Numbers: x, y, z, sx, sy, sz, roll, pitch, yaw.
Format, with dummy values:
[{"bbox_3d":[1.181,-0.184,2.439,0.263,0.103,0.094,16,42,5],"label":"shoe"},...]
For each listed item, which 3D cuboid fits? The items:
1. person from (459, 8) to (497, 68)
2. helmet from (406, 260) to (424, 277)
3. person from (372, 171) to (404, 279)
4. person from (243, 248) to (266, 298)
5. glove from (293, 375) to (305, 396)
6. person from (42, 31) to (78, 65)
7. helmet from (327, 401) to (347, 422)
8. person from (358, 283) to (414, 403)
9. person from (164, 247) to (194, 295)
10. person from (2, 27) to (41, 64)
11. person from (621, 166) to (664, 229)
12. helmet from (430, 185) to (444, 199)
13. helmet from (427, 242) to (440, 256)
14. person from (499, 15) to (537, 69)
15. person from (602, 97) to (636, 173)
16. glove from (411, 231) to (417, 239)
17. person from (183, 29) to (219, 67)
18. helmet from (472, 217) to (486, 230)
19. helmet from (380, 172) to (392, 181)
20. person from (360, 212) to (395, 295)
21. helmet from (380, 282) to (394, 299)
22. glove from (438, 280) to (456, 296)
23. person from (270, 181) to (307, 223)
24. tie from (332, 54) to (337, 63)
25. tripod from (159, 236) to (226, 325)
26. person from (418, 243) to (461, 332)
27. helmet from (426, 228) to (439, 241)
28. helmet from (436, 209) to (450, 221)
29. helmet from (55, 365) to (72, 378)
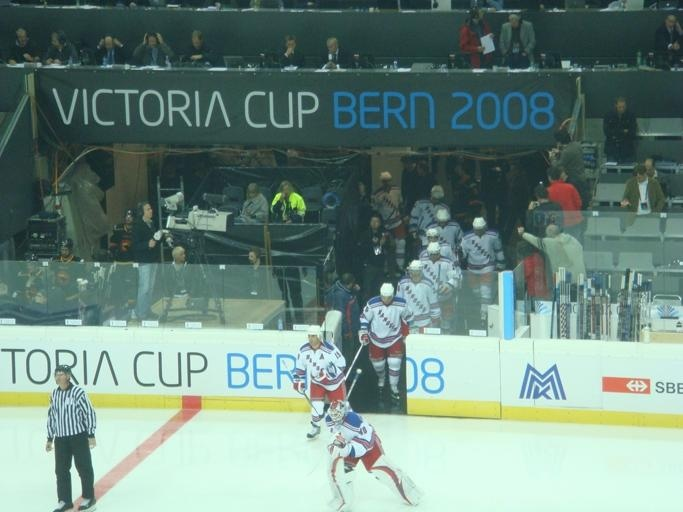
[{"bbox_3d":[2.835,-4.551,32.185,0.775,0.968,0.767,-1,-1,-11],"label":"person"},{"bbox_3d":[1.413,0.238,29.416,0.208,0.259,0.270,2,-6,3],"label":"helmet"},{"bbox_3d":[1.132,-0.692,33.738,0.667,2.223,0.652,-10,-2,38],"label":"person"},{"bbox_3d":[-1.646,0.389,29.020,0.315,0.302,0.988,-4,50,-4],"label":"person"},{"bbox_3d":[-0.767,2.379,27.781,0.218,0.333,0.127,-10,-2,13],"label":"glove"},{"bbox_3d":[-5.987,-4.399,32.672,0.655,0.869,0.567,2,28,-3],"label":"person"},{"bbox_3d":[-0.058,2.641,25.932,0.276,0.334,0.360,-8,13,33],"label":"helmet"},{"bbox_3d":[0.856,1.637,29.232,0.929,2.410,0.865,-2,26,2],"label":"person"},{"bbox_3d":[-3.061,0.322,29.054,0.474,0.929,0.519,-1,-1,1],"label":"person"},{"bbox_3d":[-6.890,-4.423,32.935,0.654,0.820,1.853,-1,-1,-24],"label":"person"},{"bbox_3d":[6.044,-0.915,30.744,0.725,1.718,0.582,0,24,13],"label":"person"},{"bbox_3d":[2.059,-1.348,32.981,0.299,0.322,0.238,6,12,12],"label":"helmet"},{"bbox_3d":[1.783,-0.107,29.839,0.188,0.264,0.253,0,3,4],"label":"helmet"},{"bbox_3d":[3.692,-4.574,32.400,0.725,1.279,0.751,-1,6,5],"label":"person"},{"bbox_3d":[5.784,-2.588,31.925,0.641,1.066,1.200,-2,-1,10],"label":"person"},{"bbox_3d":[1.580,-0.422,33.396,0.127,0.031,0.131,-19,34,-6],"label":"glove"},{"bbox_3d":[-3.013,-4.317,32.450,0.847,1.134,0.711,-1,9,4],"label":"person"},{"bbox_3d":[2.772,-0.632,30.930,0.207,0.251,0.273,-1,10,7],"label":"helmet"},{"bbox_3d":[0.963,-1.729,33.757,0.240,0.166,0.250,2,5,13],"label":"helmet"},{"bbox_3d":[0.744,0.077,32.797,0.521,1.247,1.266,-2,-1,16],"label":"person"},{"bbox_3d":[0.858,0.679,28.946,0.204,0.257,0.269,-1,22,4],"label":"helmet"},{"bbox_3d":[1.971,0.618,28.937,0.182,0.254,0.229,-5,20,-1],"label":"glove"},{"bbox_3d":[-1.115,-0.951,31.768,0.745,1.090,0.604,-3,-6,-20],"label":"person"},{"bbox_3d":[-0.159,-4.112,31.991,0.179,0.124,0.040,-1,-1,-29],"label":"tie"},{"bbox_3d":[-2.731,0.544,29.232,1.156,1.751,1.116,2,10,38],"label":"tripod"},{"bbox_3d":[1.945,0.431,29.291,0.614,0.449,1.462,-9,38,-12],"label":"person"},{"bbox_3d":[1.802,-0.403,30.526,0.193,0.251,0.241,-2,10,-5],"label":"helmet"},{"bbox_3d":[2.099,-0.815,31.810,0.252,0.195,0.361,-2,-1,1],"label":"helmet"},{"bbox_3d":[-4.760,1.963,26.274,0.213,0.252,0.303,-1,-21,5],"label":"helmet"}]
